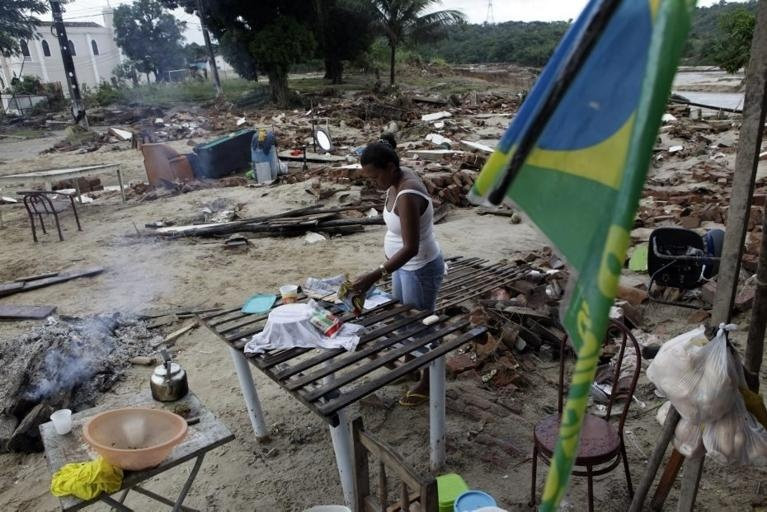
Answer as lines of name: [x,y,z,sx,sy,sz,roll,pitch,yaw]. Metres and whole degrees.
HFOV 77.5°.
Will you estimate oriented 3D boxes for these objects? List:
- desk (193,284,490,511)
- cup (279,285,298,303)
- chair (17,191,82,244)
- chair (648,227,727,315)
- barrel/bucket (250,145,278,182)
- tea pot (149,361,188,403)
desk: [-0.532,1.313,4.783,1.913,1.345,2.203,-22,32,-33]
cup: [-0.899,0.357,4.565,0.151,0.132,0.163,-2,12,0]
chair: [-7.641,-1.094,10.786,0.962,1.128,0.871,-11,46,-41]
chair: [3.492,0.077,5.570,0.906,0.567,1.217,3,17,41]
barrel/bucket: [-3.565,-2.811,14.297,0.784,1.090,0.567,-14,35,-14]
tea pot: [-1.902,1.097,4.230,0.259,0.387,0.447,-7,21,-28]
